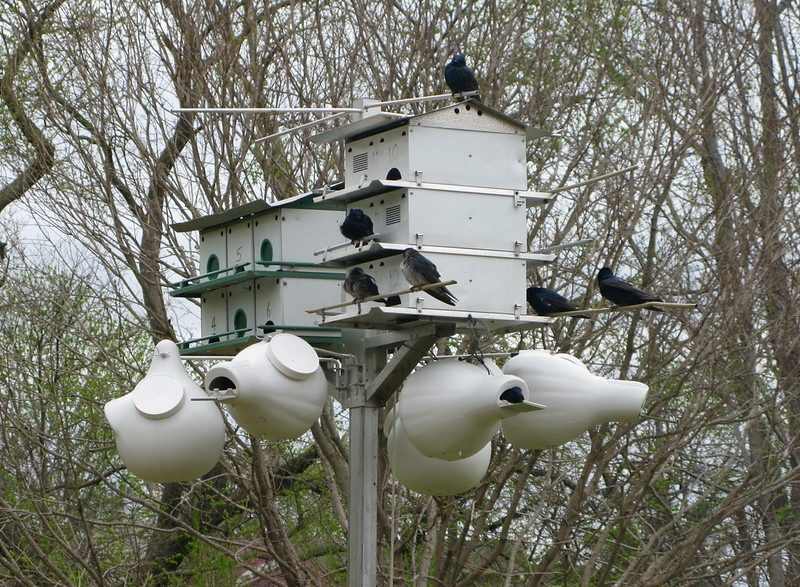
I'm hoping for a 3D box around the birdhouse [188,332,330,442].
[{"bbox_3d":[-1.329,0.946,15.684,1.283,1.151,0.962,10,-2,-38],"label":"birdhouse"}]

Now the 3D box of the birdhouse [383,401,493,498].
[{"bbox_3d":[0.365,1.697,15.959,0.945,0.685,0.973,-1,-30,-3],"label":"birdhouse"}]

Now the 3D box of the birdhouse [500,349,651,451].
[{"bbox_3d":[1.753,1.032,15.316,1.300,0.898,0.823,-2,-30,21],"label":"birdhouse"}]

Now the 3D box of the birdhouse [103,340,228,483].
[{"bbox_3d":[-2.154,1.102,15.459,1.290,1.634,1.075,1,-2,12],"label":"birdhouse"}]

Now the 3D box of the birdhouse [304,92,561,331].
[{"bbox_3d":[0.327,-0.804,16.247,2.212,2.222,1.573,1,-2,-32],"label":"birdhouse"}]
